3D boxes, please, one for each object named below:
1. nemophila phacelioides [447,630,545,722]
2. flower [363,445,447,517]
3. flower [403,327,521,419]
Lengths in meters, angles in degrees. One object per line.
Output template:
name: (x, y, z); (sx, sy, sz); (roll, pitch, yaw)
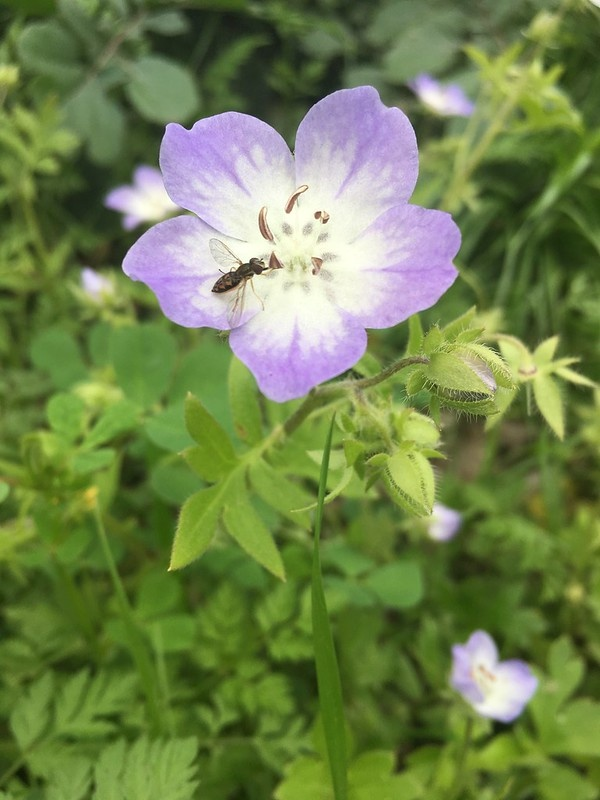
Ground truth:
nemophila phacelioides: (0.288, 0.459, 1.305); (0.164, 0.065, 0.153); (-5, 54, -33)
flower: (0.159, 0.120, 1.170); (0.095, 0.042, 0.104); (-41, 48, 12)
flower: (0.220, -0.026, 1.127); (0.132, 0.156, 0.071); (33, 53, 6)
